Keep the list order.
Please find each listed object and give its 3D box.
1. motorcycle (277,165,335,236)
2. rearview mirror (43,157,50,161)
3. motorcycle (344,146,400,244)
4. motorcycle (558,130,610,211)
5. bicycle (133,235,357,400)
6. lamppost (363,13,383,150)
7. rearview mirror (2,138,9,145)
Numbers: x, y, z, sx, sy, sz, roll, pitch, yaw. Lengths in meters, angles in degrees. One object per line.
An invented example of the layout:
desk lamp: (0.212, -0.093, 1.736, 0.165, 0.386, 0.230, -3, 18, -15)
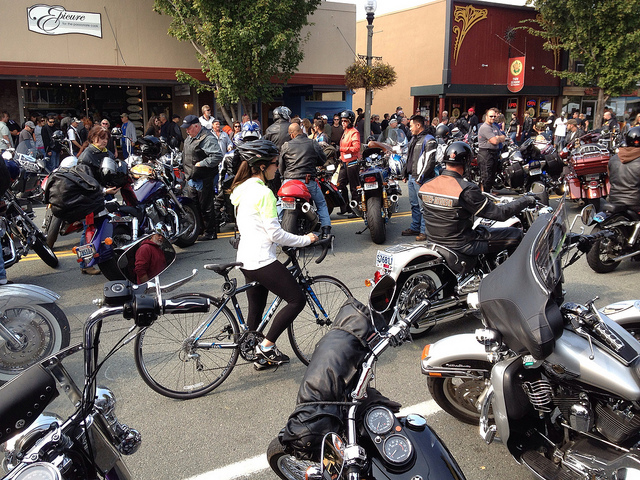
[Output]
motorcycle: (-0.325, -0.685, 8.180, 0.834, 1.199, 1.859, 3, 14, 9)
rearview mirror: (-8.635, -2.560, 15.495, 0.108, 0.151, 0.619, -7, 20, -21)
motorcycle: (0.928, -0.972, 9.737, 0.889, 1.316, 1.954, -9, 28, 15)
motorcycle: (5.865, -1.430, 10.570, 0.945, 1.722, 3.001, -3, 10, 27)
bicycle: (-0.607, 0.751, 4.999, 2.324, 1.630, 1.209, -6, 12, -24)
lamppost: (1.948, -6.321, 19.224, 0.852, 5.333, 0.839, -4, 14, -14)
rearview mirror: (-9.505, -2.985, 14.806, 0.036, 0.154, 0.150, -32, -7, 24)
